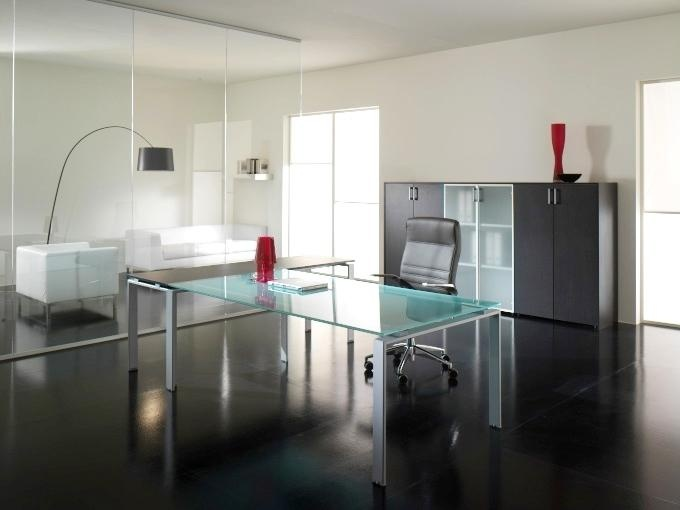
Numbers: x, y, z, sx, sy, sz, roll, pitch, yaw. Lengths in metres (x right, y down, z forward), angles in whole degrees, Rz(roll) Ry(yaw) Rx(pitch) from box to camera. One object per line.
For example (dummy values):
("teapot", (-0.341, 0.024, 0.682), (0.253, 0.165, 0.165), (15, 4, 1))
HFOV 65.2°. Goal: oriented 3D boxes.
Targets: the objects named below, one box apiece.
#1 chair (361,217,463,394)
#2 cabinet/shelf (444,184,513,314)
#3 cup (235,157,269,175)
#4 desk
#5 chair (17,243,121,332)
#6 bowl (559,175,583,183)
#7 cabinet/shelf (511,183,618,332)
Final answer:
("chair", (0.712, 0.389, 4.870), (0.783, 1.410, 0.808), (7, 7, 31))
("cabinet/shelf", (1.766, -0.085, 7.082), (0.918, 1.676, 0.530), (2, -8, -4))
("cup", (-1.084, -1.095, 6.616), (0.398, 0.204, 0.134), (-3, 10, -17))
("desk", (-0.250, 0.706, 4.205), (2.868, 0.936, 1.325), (7, 12, 35))
("chair", (-2.775, 0.322, 5.667), (0.719, 0.688, 0.549), (-4, 2, -38))
("bowl", (2.770, -0.916, 6.370), (0.326, 0.104, 0.228), (-8, 13, -37))
("cabinet/shelf", (2.685, -0.022, 6.395), (1.248, 1.666, 0.499), (5, 10, 26))
